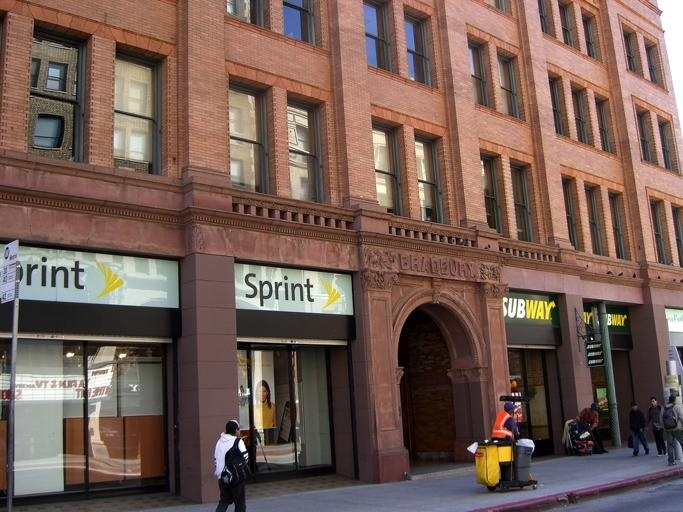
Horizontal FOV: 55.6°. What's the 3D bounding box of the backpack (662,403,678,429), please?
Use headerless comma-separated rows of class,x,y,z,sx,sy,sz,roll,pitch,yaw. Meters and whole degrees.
backpack,9.993,4.883,19.673,0.426,0.738,0.314,-11,-18,24

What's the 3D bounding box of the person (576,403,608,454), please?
person,9.563,6.541,24.641,0.697,1.872,1.550,-14,-19,32

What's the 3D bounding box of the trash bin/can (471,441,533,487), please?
trash bin/can,3.993,5.201,16.385,1.449,1.105,1.067,1,-8,-26

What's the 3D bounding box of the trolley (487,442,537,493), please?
trolley,4.139,5.268,16.379,1.493,1.256,0.933,3,-12,-13
